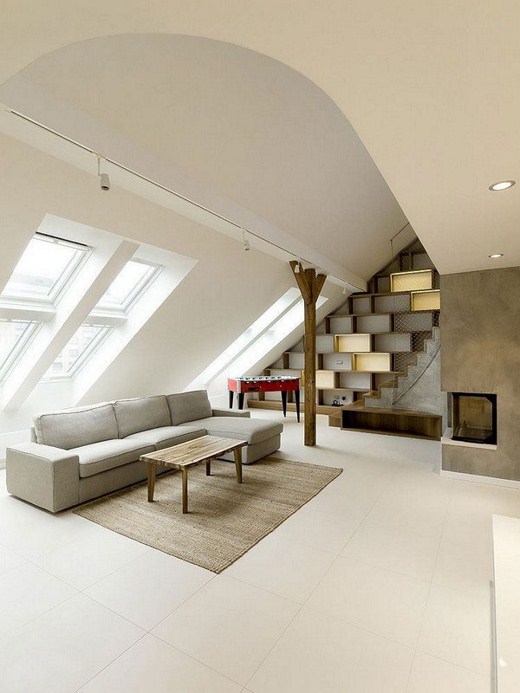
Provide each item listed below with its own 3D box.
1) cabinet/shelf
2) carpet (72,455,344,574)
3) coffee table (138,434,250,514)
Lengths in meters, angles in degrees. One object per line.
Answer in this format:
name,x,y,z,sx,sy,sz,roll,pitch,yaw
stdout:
cabinet/shelf,1.378,-0.127,7.327,2.616,2.736,1.375,-3,-8,35
carpet,-0.345,1.239,3.907,1.425,0.056,1.910,2,3,31
coffee table,-0.570,1.111,4.005,0.407,0.348,0.736,2,5,24
